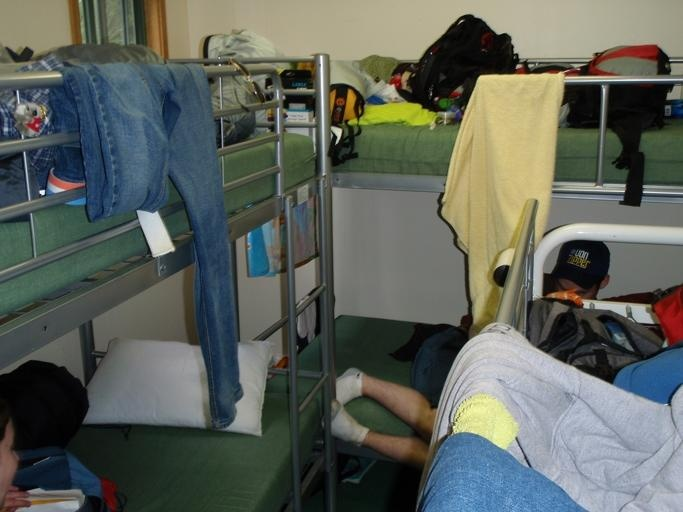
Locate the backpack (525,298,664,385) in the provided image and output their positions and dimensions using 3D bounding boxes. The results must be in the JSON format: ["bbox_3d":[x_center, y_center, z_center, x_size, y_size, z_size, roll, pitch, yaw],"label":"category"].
[{"bbox_3d":[0.871,0.279,2.013,0.347,0.159,0.439,-15,26,-36],"label":"backpack"}]
